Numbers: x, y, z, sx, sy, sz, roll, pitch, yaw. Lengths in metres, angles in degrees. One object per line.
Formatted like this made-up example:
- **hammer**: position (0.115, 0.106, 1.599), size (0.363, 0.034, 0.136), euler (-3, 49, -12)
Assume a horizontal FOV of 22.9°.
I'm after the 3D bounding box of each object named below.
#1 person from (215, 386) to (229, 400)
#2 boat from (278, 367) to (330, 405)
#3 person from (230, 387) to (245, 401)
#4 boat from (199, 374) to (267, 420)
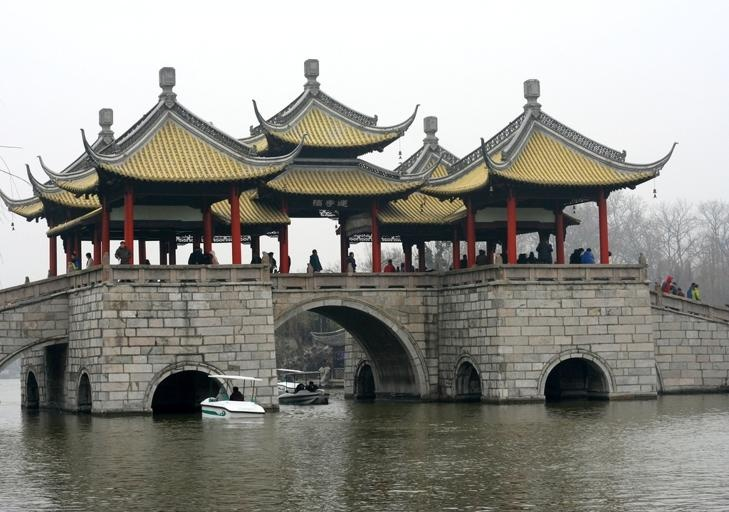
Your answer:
- **person**: position (-5.661, 5.392, 71.524), size (0.505, 0.896, 0.524), euler (0, -4, -5)
- **boat**: position (-3.168, 6.049, 82.694), size (1.797, 1.340, 4.189), euler (1, -12, -15)
- **person**: position (-5.098, 5.380, 71.075), size (0.521, 0.595, 0.778), euler (-6, -9, 35)
- **boat**: position (-5.193, 5.490, 71.079), size (1.499, 1.247, 2.387), euler (5, -7, -33)
